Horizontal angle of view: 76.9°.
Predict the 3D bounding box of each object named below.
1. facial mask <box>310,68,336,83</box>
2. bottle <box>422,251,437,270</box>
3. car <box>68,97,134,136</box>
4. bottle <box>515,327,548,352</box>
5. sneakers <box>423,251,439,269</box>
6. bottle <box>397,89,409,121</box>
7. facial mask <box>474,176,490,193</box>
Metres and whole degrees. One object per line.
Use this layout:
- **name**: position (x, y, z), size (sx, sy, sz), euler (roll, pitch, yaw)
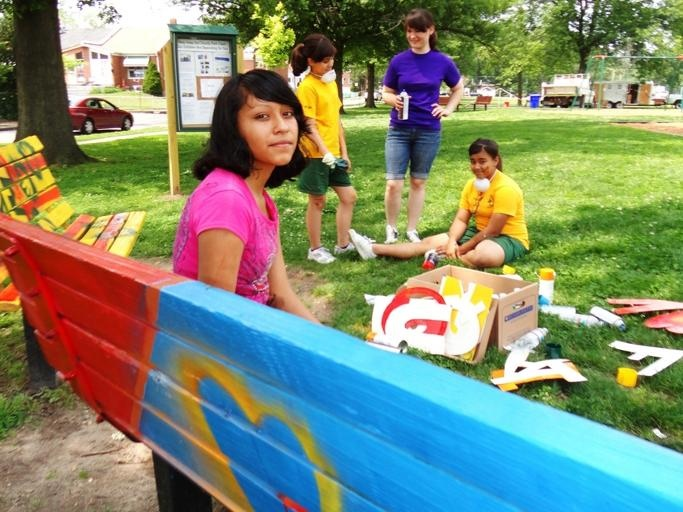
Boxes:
- **facial mask**: position (-0.165, -2.026, 4.845), size (0.142, 0.098, 0.172), euler (-30, 50, -23)
- **bottle**: position (0.970, 0.055, 4.709), size (0.105, 0.064, 0.179), euler (26, 36, 12)
- **car**: position (-13.567, -7.734, 23.844), size (0.839, 1.953, 3.316), euler (12, 18, 28)
- **bottle**: position (1.399, 0.605, 3.178), size (0.357, 0.103, 0.127), euler (-5, 9, -28)
- **sneakers**: position (0.981, 0.052, 4.707), size (0.104, 0.064, 0.179), euler (30, 26, 6)
- **bottle**: position (0.774, -1.841, 5.276), size (0.129, 0.329, 0.156), euler (2, 17, -2)
- **facial mask**: position (1.537, -0.776, 4.779), size (0.158, 0.165, 0.150), euler (-10, -10, 2)
